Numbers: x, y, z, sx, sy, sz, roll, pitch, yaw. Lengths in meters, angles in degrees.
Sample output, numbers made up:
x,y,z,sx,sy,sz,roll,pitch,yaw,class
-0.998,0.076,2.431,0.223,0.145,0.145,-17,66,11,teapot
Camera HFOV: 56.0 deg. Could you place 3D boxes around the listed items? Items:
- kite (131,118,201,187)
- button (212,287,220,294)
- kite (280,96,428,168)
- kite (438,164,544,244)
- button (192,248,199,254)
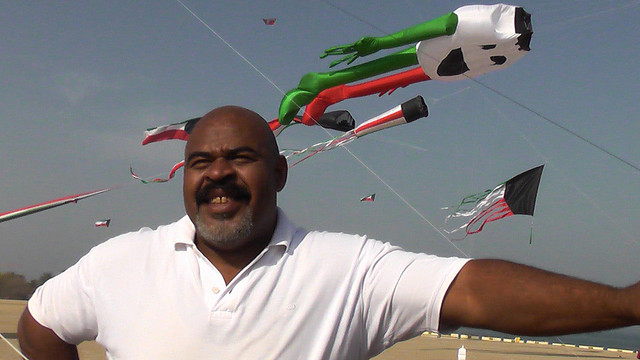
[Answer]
x,y,z,sx,sy,sz,roll,pitch,yaw,class
-3.351,-0.678,13.146,0.211,1.541,1.875,10,9,33,kite
-0.812,0.852,4.660,0.051,0.045,0.011,-5,-14,-9,button
0.815,-0.781,9.969,1.679,0.918,2.016,-7,-17,-3,kite
2.951,0.400,9.941,0.327,0.976,2.084,-3,-10,-40,kite
-1.001,0.563,4.796,0.043,0.037,0.010,-12,-13,-31,button
